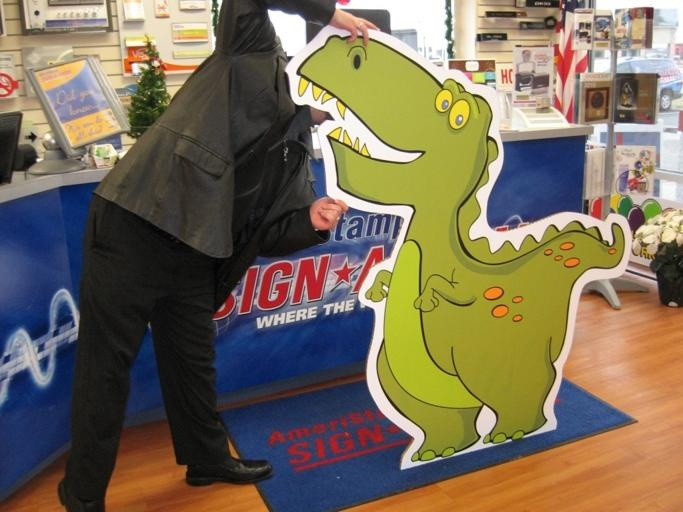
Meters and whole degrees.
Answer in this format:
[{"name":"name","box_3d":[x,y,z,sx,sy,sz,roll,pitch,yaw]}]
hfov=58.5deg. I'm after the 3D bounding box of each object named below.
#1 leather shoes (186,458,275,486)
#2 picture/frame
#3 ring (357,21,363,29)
[{"name":"leather shoes","box_3d":[-0.498,0.947,2.670,0.278,0.127,0.096,-5,13,-8]},{"name":"picture/frame","box_3d":[-1.219,-0.698,2.806,0.463,0.481,0.126,-29,11,-34]},{"name":"ring","box_3d":[0.069,-0.897,2.372,0.009,0.030,0.029,5,-20,11]}]
